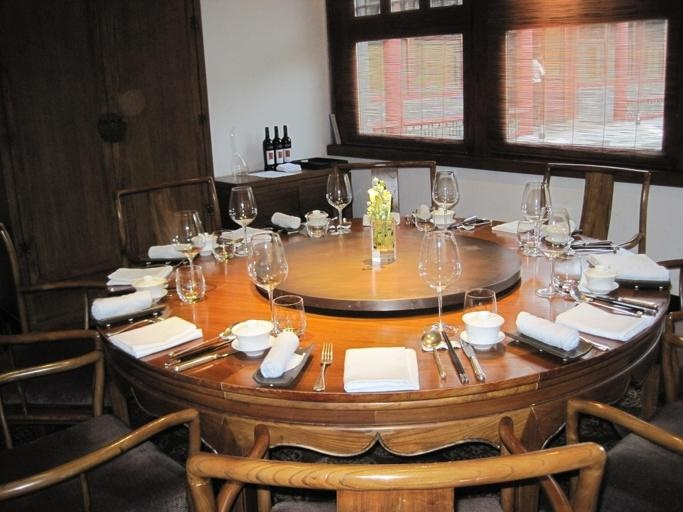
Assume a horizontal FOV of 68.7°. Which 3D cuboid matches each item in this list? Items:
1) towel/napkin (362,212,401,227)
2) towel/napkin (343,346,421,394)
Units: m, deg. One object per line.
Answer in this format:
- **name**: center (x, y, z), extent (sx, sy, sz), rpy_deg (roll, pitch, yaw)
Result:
- **towel/napkin**: center (0.193, -0.176, 2.398), extent (0.121, 0.062, 0.160), rpy_deg (1, 4, 4)
- **towel/napkin**: center (0.120, 0.333, 1.485), extent (0.218, 0.045, 0.197), rpy_deg (-4, 16, 4)
